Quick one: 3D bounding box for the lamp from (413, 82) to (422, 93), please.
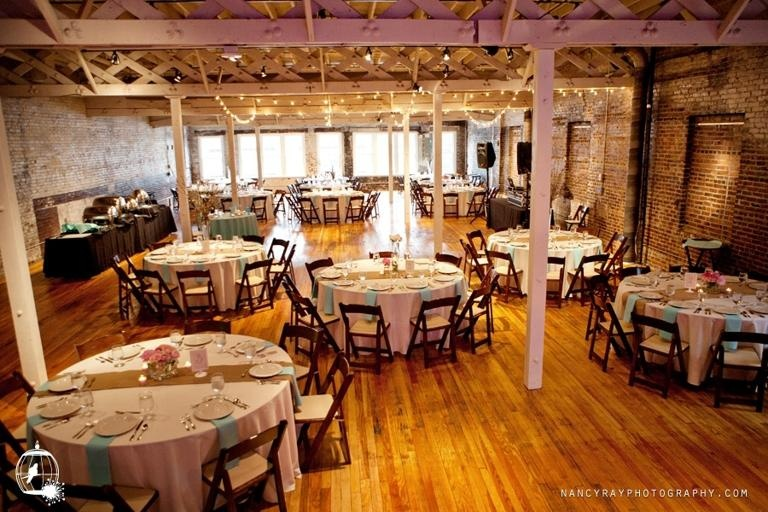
[{"bbox_3d":[0.674,-3.316,9.903,0.215,0.155,0.087,-7,14,-24],"label":"lamp"}]

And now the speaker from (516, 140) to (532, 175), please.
[{"bbox_3d":[3.460,-2.386,12.372,0.305,0.729,0.726,1,13,12],"label":"speaker"}]

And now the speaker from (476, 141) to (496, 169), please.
[{"bbox_3d":[3.834,-3.701,18.685,0.629,1.000,1.813,1,12,11],"label":"speaker"}]
